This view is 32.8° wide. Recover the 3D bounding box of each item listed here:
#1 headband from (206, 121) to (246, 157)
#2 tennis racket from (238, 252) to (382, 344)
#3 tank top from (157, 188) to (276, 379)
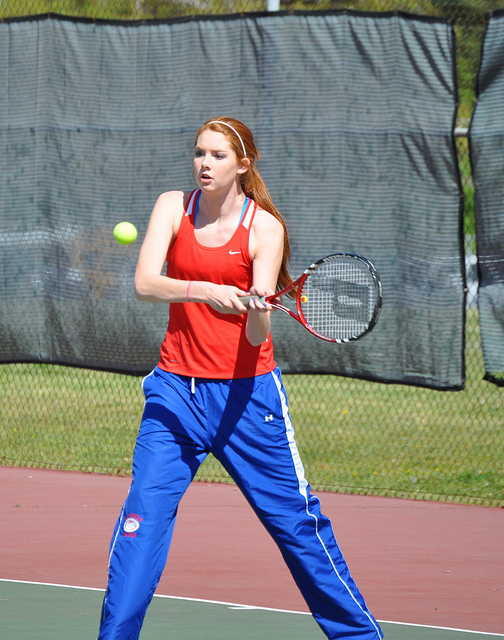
[{"bbox_3d":[-0.065,-0.489,2.318,0.093,0.093,0.019,0,2,-1],"label":"headband"},{"bbox_3d":[0.089,-0.062,2.736,0.703,0.268,0.049,2,-1,32],"label":"tennis racket"},{"bbox_3d":[-0.094,-0.103,2.282,0.311,0.504,0.189,0,2,-6],"label":"tank top"}]
